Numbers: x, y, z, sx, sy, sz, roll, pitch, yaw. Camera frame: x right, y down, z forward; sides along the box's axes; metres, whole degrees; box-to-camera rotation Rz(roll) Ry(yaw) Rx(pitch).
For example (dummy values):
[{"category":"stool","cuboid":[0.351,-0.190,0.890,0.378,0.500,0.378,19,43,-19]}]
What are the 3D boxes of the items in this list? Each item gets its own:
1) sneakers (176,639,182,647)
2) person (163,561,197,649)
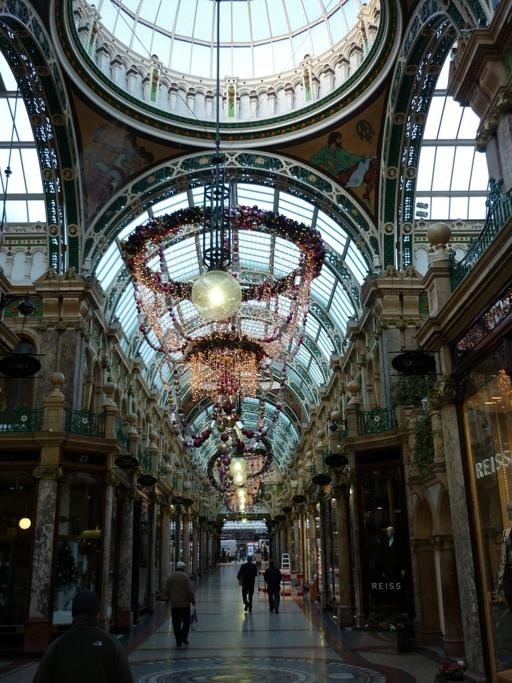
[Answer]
[{"category":"sneakers","cuboid":[-1.526,5.951,10.952,0.144,0.134,0.420,2,-21,-7]},{"category":"person","cuboid":[-1.536,5.215,11.005,0.525,1.550,0.732,2,-21,-8]}]
